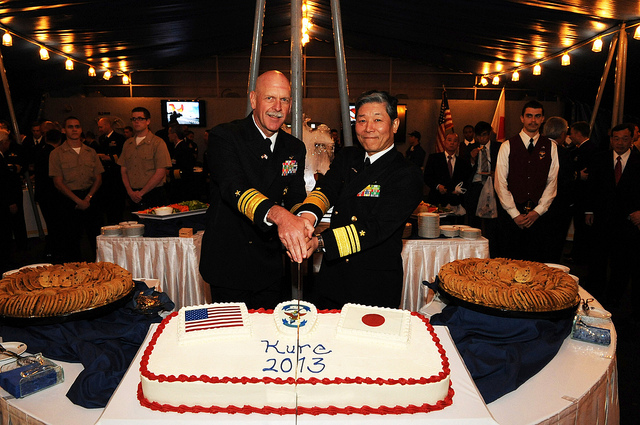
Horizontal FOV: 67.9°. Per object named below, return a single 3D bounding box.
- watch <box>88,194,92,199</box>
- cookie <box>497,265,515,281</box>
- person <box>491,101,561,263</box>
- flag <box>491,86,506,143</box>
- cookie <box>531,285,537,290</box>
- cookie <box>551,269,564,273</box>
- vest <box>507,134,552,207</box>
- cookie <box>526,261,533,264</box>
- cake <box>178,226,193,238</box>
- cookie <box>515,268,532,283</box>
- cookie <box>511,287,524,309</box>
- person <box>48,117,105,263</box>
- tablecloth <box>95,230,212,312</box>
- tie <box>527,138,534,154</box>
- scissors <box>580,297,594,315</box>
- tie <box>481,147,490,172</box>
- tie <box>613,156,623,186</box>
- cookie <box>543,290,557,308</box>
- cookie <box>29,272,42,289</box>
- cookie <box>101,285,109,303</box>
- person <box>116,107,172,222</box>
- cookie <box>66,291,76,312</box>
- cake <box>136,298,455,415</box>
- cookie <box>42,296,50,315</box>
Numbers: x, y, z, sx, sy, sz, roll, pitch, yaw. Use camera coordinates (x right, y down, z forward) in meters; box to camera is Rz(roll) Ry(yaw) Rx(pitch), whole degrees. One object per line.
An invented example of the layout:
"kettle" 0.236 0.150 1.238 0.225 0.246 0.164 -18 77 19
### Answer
"watch" -2.926 -0.221 6.041 0.030 0.048 0.053 12 20 42
"cookie" 1.214 0.386 3.102 0.105 0.061 0.114 5 16 22
"person" 2.160 -0.305 5.018 0.654 1.696 0.645 6 16 24
"flag" 4.759 -2.673 12.606 0.315 1.293 1.245 4 16 19
"cookie" 1.312 0.457 2.915 0.023 0.007 0.026 -28 -2 -3
"cookie" 1.575 0.384 3.162 0.049 0.012 0.049 -2 -2 -4
"vest" 2.148 -0.442 4.894 0.416 0.694 0.234 5 16 22
"cookie" 1.448 0.342 3.289 0.014 0.011 0.049 14 -12 19
"cake" -1.263 0.181 4.494 0.127 0.084 0.110 3 15 17
"cookie" 1.313 0.405 3.079 0.122 0.067 0.073 -5 15 -16
"cookie" 1.177 0.512 2.852 0.027 0.089 0.092 -15 -8 21
"person" -3.078 -0.274 6.056 0.629 1.849 0.430 -8 16 -24
"tablecloth" -1.663 0.654 4.689 0.875 0.880 0.528 8 -12 -9
"tie" 2.149 -0.686 4.843 0.084 0.146 0.034 -1 -12 33
"scissors" 1.750 0.618 3.116 0.093 0.034 0.108 5 21 1
"tie" 2.087 -0.686 6.010 0.092 0.284 0.182 1 15 9
"tie" 3.221 -0.470 5.122 0.083 0.290 0.082 -9 17 -27
"cookie" 1.381 0.519 2.842 0.018 0.074 0.067 -29 -4 -2
"cookie" -1.775 0.418 2.975 0.072 0.012 0.135 -5 42 -43
"cookie" -1.287 0.490 2.841 0.059 0.071 0.019 1 0 -42
"person" -2.104 -0.599 5.659 0.612 1.305 0.473 -4 15 -11
"cookie" -1.460 0.512 2.793 0.026 0.088 0.084 17 -36 -39
"cake" -0.133 0.741 2.419 1.324 0.226 0.605 3 16 -2
"cookie" -1.590 0.539 2.761 0.016 0.073 0.076 17 -27 -13
